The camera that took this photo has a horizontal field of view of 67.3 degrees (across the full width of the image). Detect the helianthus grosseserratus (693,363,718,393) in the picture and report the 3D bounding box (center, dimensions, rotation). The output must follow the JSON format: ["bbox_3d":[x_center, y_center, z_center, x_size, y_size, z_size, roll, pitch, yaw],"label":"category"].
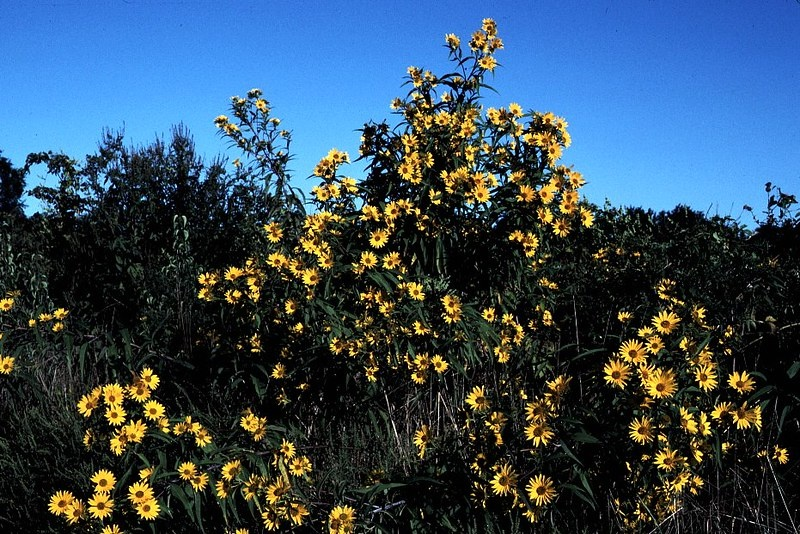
[{"bbox_3d":[1.743,0.637,3.454,0.129,0.155,0.051,-2,-9,-16],"label":"helianthus grosseserratus"}]

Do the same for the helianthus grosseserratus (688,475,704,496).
[{"bbox_3d":[1.827,1.349,3.739,0.095,0.106,0.317,-11,-29,22],"label":"helianthus grosseserratus"}]

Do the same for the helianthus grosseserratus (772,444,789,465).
[{"bbox_3d":[2.412,1.195,3.842,0.076,0.099,0.222,-19,-32,34],"label":"helianthus grosseserratus"}]

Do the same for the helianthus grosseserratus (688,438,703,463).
[{"bbox_3d":[1.678,1.035,3.440,0.044,0.133,0.122,3,12,15],"label":"helianthus grosseserratus"}]

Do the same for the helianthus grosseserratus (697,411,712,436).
[{"bbox_3d":[1.717,0.883,3.420,0.101,0.114,0.026,-22,11,-24],"label":"helianthus grosseserratus"}]
